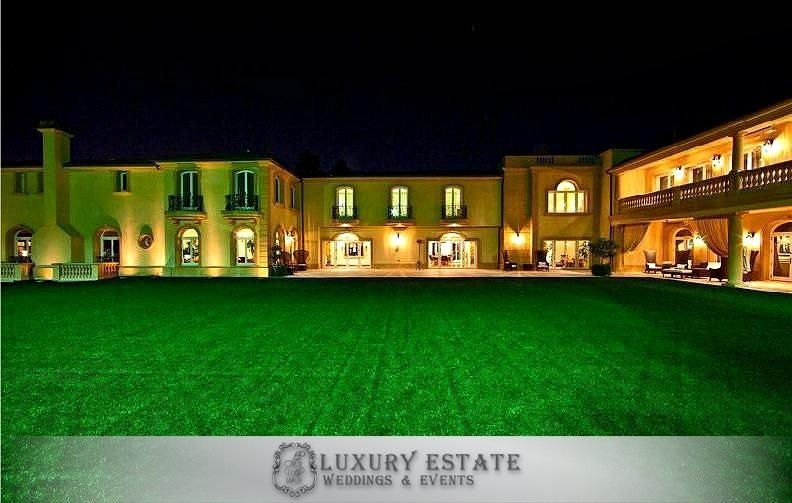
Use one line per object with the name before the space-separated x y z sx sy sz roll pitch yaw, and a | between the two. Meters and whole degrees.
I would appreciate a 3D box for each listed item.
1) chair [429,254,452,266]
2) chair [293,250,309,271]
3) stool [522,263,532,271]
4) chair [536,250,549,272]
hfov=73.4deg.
chair | 2.898 0.588 34.426 0.847 0.524 0.858 1 2 14
chair | -5.921 0.577 33.323 1.185 1.463 1.094 1 -13 -8
stool | 8.029 0.936 32.452 0.506 0.400 1.025 1 4 23
chair | 8.693 0.573 31.874 1.014 1.471 1.028 0 -9 5
